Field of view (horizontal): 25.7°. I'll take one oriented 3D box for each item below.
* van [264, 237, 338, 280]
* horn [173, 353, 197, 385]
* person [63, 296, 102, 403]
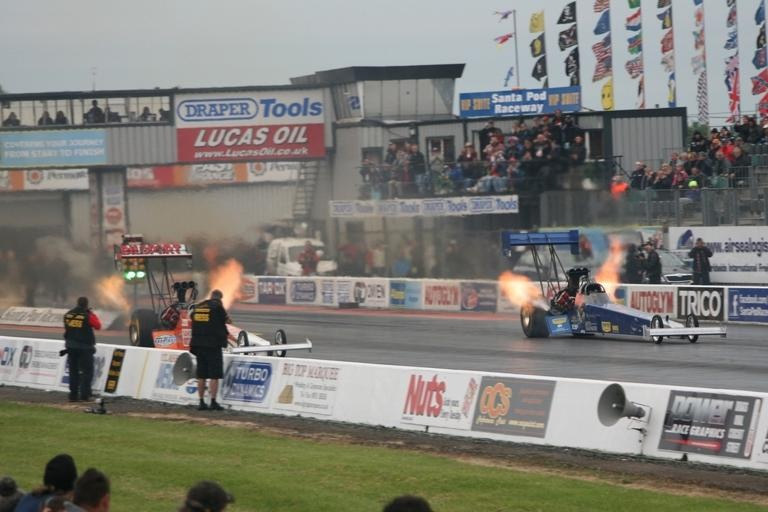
[{"bbox_3d":[-3.911,0.632,75.867,2.597,2.439,4.637,3,1,-25],"label":"van"},{"bbox_3d":[-6.098,3.731,53.533,1.083,0.983,0.947,5,-3,-42],"label":"horn"},{"bbox_3d":[-9.908,3.186,55.246,1.273,3.429,1.153,8,-3,-16],"label":"person"}]
